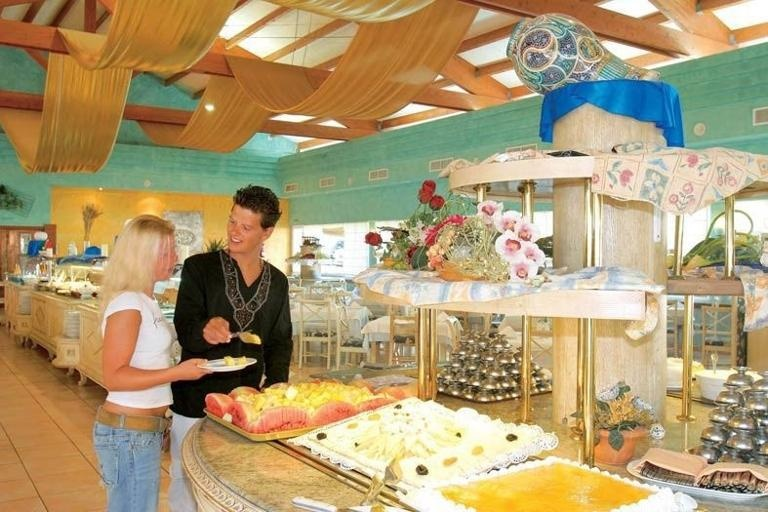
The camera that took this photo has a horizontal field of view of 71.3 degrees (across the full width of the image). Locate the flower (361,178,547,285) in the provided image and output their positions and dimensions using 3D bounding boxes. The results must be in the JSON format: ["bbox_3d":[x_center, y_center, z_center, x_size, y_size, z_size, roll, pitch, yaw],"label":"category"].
[{"bbox_3d":[0.210,-0.046,1.922,0.690,0.227,0.439,-2,12,13],"label":"flower"}]

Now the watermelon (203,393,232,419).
[{"bbox_3d":[-0.636,0.569,2.056,0.091,0.064,0.095,26,1,9],"label":"watermelon"}]

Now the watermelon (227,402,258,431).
[{"bbox_3d":[-0.505,0.571,1.915,0.076,0.080,0.187,-10,11,-28],"label":"watermelon"}]

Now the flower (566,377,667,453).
[{"bbox_3d":[0.854,0.609,1.962,0.182,0.106,0.169,-10,4,-15],"label":"flower"}]

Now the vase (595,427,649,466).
[{"bbox_3d":[0.851,0.704,1.986,0.223,0.121,0.210,5,-14,8],"label":"vase"}]
